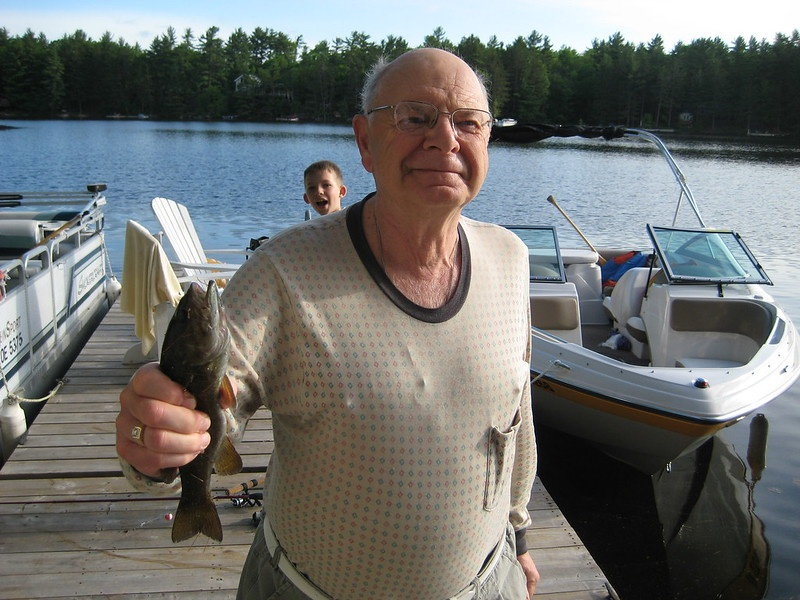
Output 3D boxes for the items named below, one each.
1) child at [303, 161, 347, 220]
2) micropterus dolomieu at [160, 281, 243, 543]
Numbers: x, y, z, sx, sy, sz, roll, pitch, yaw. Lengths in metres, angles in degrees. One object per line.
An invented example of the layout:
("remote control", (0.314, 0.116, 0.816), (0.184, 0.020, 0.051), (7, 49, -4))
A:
("child", (-0.775, -1.084, 7.094), (0.424, 0.695, 0.451), (-6, 1, 7))
("micropterus dolomieu", (-0.593, 0.321, 2.184), (0.258, 0.849, 0.334), (1, 4, 6))
